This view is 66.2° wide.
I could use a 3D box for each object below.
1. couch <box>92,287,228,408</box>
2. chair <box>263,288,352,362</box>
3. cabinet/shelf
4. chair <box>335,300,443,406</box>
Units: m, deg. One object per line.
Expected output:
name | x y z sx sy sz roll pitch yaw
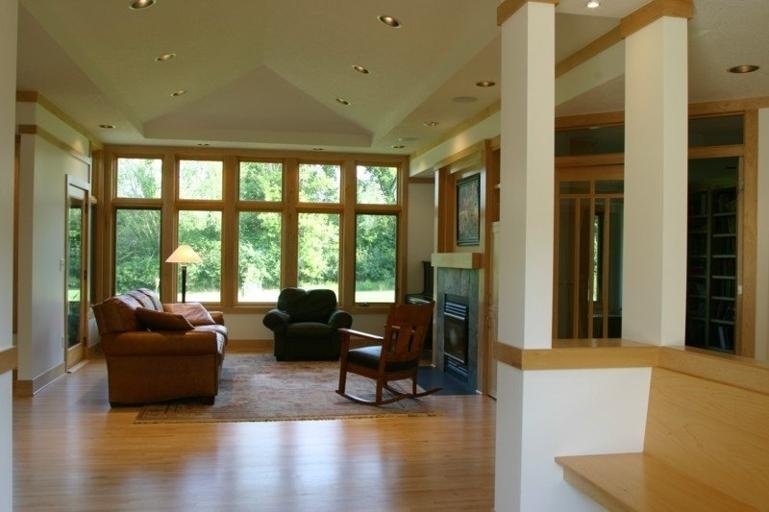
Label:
couch | -2.815 1.111 7.863 1.431 1.119 2.431 2 0 -11
chair | -1.300 1.162 9.810 1.261 0.999 1.160 0 -7 -7
cabinet/shelf | 3.347 0.117 5.969 0.154 1.642 0.598 -3 7 -37
chair | 0.068 1.201 7.402 1.282 1.149 1.272 2 -2 -12
